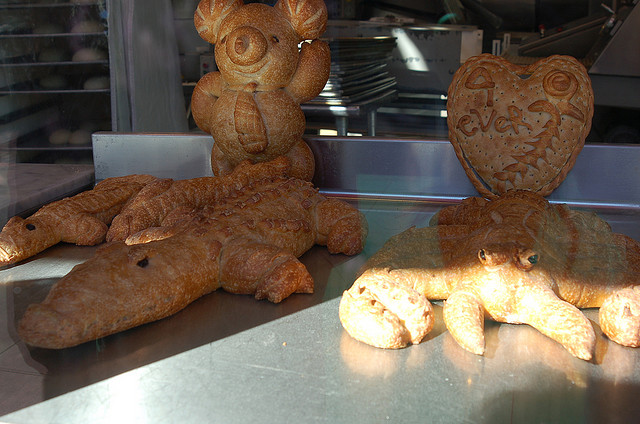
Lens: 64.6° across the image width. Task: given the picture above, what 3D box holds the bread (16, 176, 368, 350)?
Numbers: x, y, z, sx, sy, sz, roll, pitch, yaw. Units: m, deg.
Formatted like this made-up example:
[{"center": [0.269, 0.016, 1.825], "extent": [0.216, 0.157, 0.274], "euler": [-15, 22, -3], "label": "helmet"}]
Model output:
[{"center": [-0.188, 0.071, 1.033], "extent": [0.482, 0.328, 0.573], "euler": [7, 14, 8], "label": "bread"}]

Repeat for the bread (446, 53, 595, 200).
[{"center": [0.478, -0.205, 1.222], "extent": [0.353, 0.349, 0.109], "euler": [4, 3, 13], "label": "bread"}]

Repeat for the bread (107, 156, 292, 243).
[{"center": [-0.558, -0.048, 1.412], "extent": [0.261, 0.238, 0.778], "euler": [-17, 9, -42], "label": "bread"}]

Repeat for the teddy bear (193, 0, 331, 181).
[{"center": [-0.162, -0.302, 1.321], "extent": [0.363, 0.466, 0.235], "euler": [1, 16, -1], "label": "teddy bear"}]

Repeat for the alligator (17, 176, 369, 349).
[{"center": [-0.218, 0.003, 0.960], "extent": [0.511, 0.114, 0.310], "euler": [-18, 31, -40], "label": "alligator"}]
